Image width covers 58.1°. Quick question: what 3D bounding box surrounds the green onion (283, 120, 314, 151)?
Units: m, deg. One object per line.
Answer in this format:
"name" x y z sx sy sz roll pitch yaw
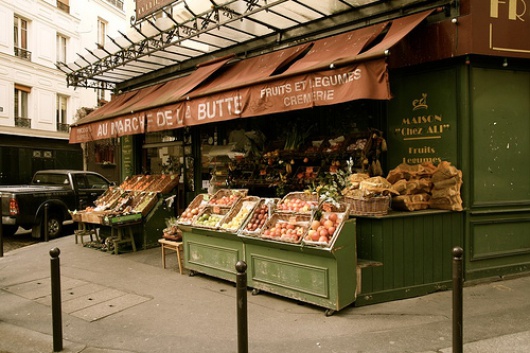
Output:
"green onion" 0.852 -1.035 12.186 0.560 0.904 0.653 -15 32 -7

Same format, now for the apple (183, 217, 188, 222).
"apple" -1.854 1.027 11.265 0.090 0.060 0.110 1 5 -11

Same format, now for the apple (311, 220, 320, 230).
"apple" 1.014 1.007 9.626 0.173 0.202 0.175 -20 -27 36

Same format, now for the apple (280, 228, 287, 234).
"apple" 0.387 1.126 9.820 0.081 0.076 0.093 2 24 -4

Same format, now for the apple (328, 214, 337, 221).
"apple" 1.379 0.826 9.570 0.129 0.100 0.140 2 -9 -18

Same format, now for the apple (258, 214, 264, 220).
"apple" -0.082 0.877 10.273 0.096 0.092 0.112 -2 14 3

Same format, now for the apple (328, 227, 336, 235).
"apple" 1.313 1.074 9.395 0.138 0.157 0.136 22 -15 -36

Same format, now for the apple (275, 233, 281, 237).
"apple" 0.267 1.207 9.797 0.084 0.079 0.082 8 -11 5

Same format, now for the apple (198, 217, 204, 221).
"apple" -1.461 0.991 11.048 0.086 0.080 0.085 2 1 26

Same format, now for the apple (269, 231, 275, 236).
"apple" 0.169 1.187 9.833 0.077 0.089 0.078 -30 -21 31

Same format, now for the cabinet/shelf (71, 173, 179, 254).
"cabinet/shelf" -4.174 1.012 14.061 2.441 1.740 2.951 -10 8 -38

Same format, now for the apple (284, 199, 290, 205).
"apple" 0.497 0.553 10.392 0.089 0.086 0.086 7 1 -30

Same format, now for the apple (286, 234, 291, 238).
"apple" 0.485 1.210 9.696 0.058 0.057 0.069 26 -8 46

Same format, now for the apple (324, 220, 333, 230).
"apple" 1.271 0.952 9.499 0.153 0.171 0.146 -16 13 -23

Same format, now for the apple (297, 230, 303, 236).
"apple" 0.717 1.131 9.625 0.107 0.096 0.107 -2 -7 40

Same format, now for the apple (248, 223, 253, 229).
"apple" -0.306 1.053 10.184 0.089 0.101 0.089 -10 -43 37

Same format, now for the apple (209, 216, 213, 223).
"apple" -1.230 0.996 10.943 0.118 0.062 0.115 -1 4 -11

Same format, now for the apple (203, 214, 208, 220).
"apple" -1.362 0.929 11.116 0.093 0.090 0.108 -19 23 13

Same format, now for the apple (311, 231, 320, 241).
"apple" 1.015 1.182 9.430 0.135 0.157 0.136 -4 3 -36

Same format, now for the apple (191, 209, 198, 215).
"apple" -1.671 0.844 11.400 0.134 0.125 0.131 0 2 2

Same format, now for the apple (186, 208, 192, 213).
"apple" -1.823 0.822 11.525 0.110 0.057 0.108 2 7 5

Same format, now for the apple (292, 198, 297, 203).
"apple" 0.638 0.530 10.287 0.080 0.076 0.093 18 -12 2

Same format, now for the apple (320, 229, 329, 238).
"apple" 1.195 1.120 9.419 0.154 0.173 0.155 -5 0 36

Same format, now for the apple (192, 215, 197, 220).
"apple" -1.644 0.965 11.219 0.101 0.093 0.098 0 3 -18

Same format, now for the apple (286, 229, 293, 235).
"apple" 0.510 1.130 9.749 0.081 0.096 0.078 16 29 -51

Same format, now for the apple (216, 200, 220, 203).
"apple" -1.114 0.615 11.408 0.073 0.085 0.073 34 -4 3

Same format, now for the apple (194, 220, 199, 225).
"apple" -1.553 1.065 10.946 0.087 0.046 0.085 1 6 1

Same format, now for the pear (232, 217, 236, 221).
"pear" -0.660 0.947 10.601 0.113 0.107 0.063 5 23 -1

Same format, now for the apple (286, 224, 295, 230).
"apple" 0.534 1.041 9.853 0.134 0.107 0.108 9 -29 -17

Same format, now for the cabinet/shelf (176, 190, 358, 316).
"cabinet/shelf" -0.170 1.543 10.655 4.375 2.161 1.113 3 11 39

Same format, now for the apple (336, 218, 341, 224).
"apple" 1.481 0.880 9.507 0.091 0.095 0.122 -3 3 -20

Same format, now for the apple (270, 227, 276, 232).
"apple" 0.183 1.115 9.908 0.075 0.075 0.089 39 -25 9

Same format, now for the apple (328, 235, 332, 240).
"apple" 1.275 1.202 9.317 0.072 0.069 0.164 -2 3 8

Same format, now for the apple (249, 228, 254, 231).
"apple" -0.275 1.140 10.142 0.070 0.037 0.054 -1 -1 30

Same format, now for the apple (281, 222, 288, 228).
"apple" 0.411 1.016 9.920 0.094 0.090 0.110 23 7 -7

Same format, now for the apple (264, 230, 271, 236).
"apple" 0.068 1.176 9.905 0.086 0.092 0.107 18 3 26

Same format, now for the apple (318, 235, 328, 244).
"apple" 1.146 1.226 9.306 0.131 0.151 0.131 -8 -14 31

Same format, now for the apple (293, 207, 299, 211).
"apple" 0.669 0.693 10.096 0.076 0.061 0.062 15 -20 -15
